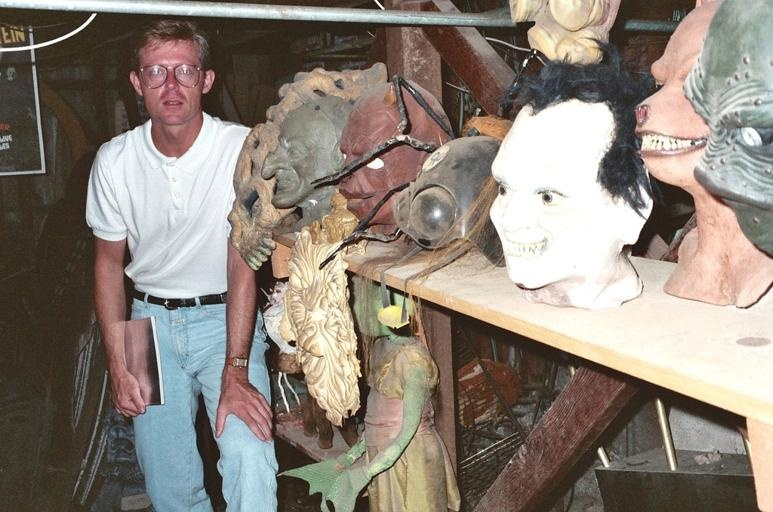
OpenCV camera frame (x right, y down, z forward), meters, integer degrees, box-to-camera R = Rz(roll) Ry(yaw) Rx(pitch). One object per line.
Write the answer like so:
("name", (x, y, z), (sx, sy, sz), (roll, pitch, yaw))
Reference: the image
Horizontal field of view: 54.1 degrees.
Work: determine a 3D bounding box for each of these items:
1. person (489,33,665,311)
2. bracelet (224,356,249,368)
("person", (0.567, -0.221, 2.265), (0.534, 0.720, 0.466), (-11, 17, -43))
("bracelet", (-0.636, 0.456, 3.242), (0.069, 0.047, 0.073), (1, -4, 3))
